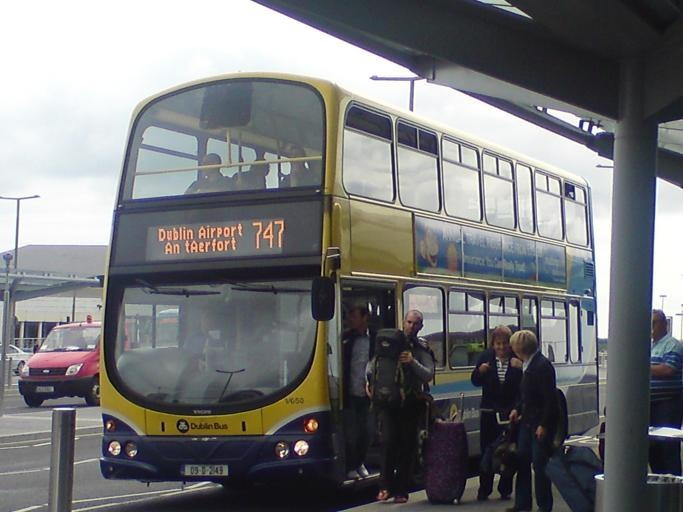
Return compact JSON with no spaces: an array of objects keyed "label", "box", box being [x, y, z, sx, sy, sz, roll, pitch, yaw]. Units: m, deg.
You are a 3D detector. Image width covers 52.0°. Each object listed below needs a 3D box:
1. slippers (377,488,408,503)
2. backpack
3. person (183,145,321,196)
[{"label":"slippers","box":[0.592,2.826,8.202,0.260,0.120,0.168,1,-6,10]},{"label":"backpack","box":[0.560,1.324,8.433,0.372,1.035,0.418,-3,-7,19]},{"label":"person","box":[-1.146,-1.130,9.140,1.794,0.650,0.403,-2,-10,17]}]
